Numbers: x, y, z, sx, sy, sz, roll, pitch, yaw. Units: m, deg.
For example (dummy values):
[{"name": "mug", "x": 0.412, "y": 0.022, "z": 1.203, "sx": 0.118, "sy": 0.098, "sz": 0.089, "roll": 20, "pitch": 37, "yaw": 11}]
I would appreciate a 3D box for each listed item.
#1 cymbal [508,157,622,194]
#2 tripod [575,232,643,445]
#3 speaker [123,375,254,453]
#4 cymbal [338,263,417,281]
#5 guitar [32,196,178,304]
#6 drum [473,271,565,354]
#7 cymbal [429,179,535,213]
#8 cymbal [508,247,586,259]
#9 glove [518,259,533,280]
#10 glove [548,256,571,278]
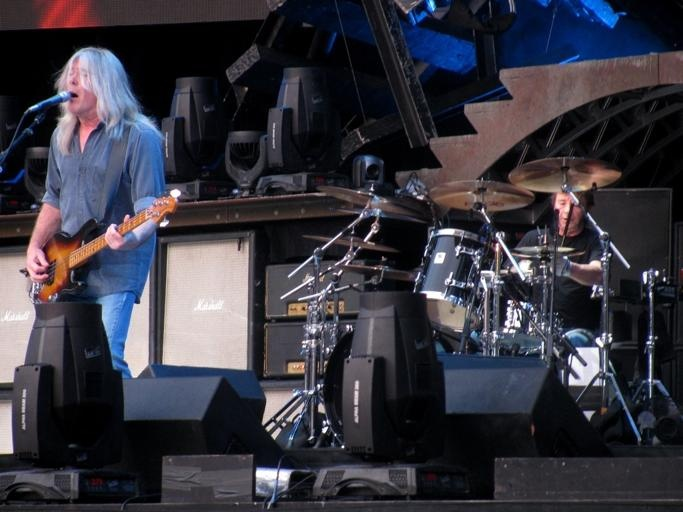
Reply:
[{"name": "cymbal", "x": 1.326, "y": -0.491, "z": 7.799, "sx": 0.382, "sy": 0.080, "sz": 0.362, "roll": 7, "pitch": -21, "yaw": -6}, {"name": "tripod", "x": 1.500, "y": 0.447, "z": 7.280, "sx": 0.329, "sy": 1.162, "sz": 0.886, "roll": 2, "pitch": -4, "yaw": 0}, {"name": "speaker", "x": -0.713, "y": 0.670, "z": 5.875, "sx": 0.498, "sy": 0.300, "sz": 0.392, "roll": -5, "pitch": -3, "yaw": 39}, {"name": "cymbal", "x": 0.213, "y": 0.087, "z": 7.690, "sx": 0.353, "sy": 0.095, "sz": 0.647, "roll": 0, "pitch": -4, "yaw": 23}, {"name": "guitar", "x": -1.183, "y": -0.043, "z": 6.290, "sx": 0.803, "sy": 0.547, "sz": 0.244, "roll": -1, "pitch": -4, "yaw": 29}, {"name": "drum", "x": 1.042, "y": 0.342, "z": 7.729, "sx": 0.524, "sy": 0.499, "sz": 1.052, "roll": 1, "pitch": -4, "yaw": 5}, {"name": "cymbal", "x": 0.844, "y": -0.350, "z": 7.873, "sx": 0.630, "sy": 0.162, "sz": 0.526, "roll": 1, "pitch": -4, "yaw": -1}, {"name": "cymbal", "x": 1.159, "y": -0.013, "z": 7.719, "sx": 0.324, "sy": 0.064, "sz": 0.501, "roll": 4, "pitch": -5, "yaw": -36}, {"name": "glove", "x": 1.099, "y": 0.076, "z": 7.747, "sx": 0.040, "sy": 0.122, "sz": 0.096, "roll": 18, "pitch": -31, "yaw": -33}, {"name": "glove", "x": 1.306, "y": 0.072, "z": 7.691, "sx": 0.107, "sy": 0.140, "sz": 0.153, "roll": -11, "pitch": -17, "yaw": 43}]
